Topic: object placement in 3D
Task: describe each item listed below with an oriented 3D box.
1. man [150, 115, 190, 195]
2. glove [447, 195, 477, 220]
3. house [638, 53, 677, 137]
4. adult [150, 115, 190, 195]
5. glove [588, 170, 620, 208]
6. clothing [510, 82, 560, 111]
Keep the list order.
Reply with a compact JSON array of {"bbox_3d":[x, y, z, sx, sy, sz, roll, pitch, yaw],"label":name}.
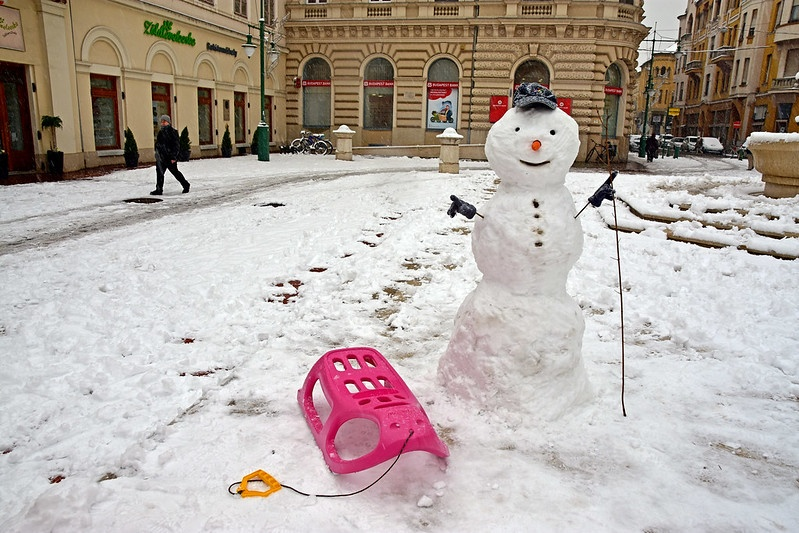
[{"bbox_3d":[-6.232,-3.053,14.200,0.912,2.023,1.701,-6,19,-23],"label":"man"},{"bbox_3d":[0.621,-0.600,5.223,0.270,0.226,0.124,26,49,7],"label":"glove"},{"bbox_3d":[36.353,-23.089,74.209,3.776,13.970,5.304,14,31,37],"label":"house"},{"bbox_3d":[-6.259,-3.065,14.235,0.931,2.023,1.792,-6,19,-23],"label":"adult"},{"bbox_3d":[1.957,-0.753,5.103,0.225,0.331,0.387,8,18,20],"label":"glove"},{"bbox_3d":[1.320,-1.666,5.147,0.404,0.247,0.341,6,18,11],"label":"clothing"}]
